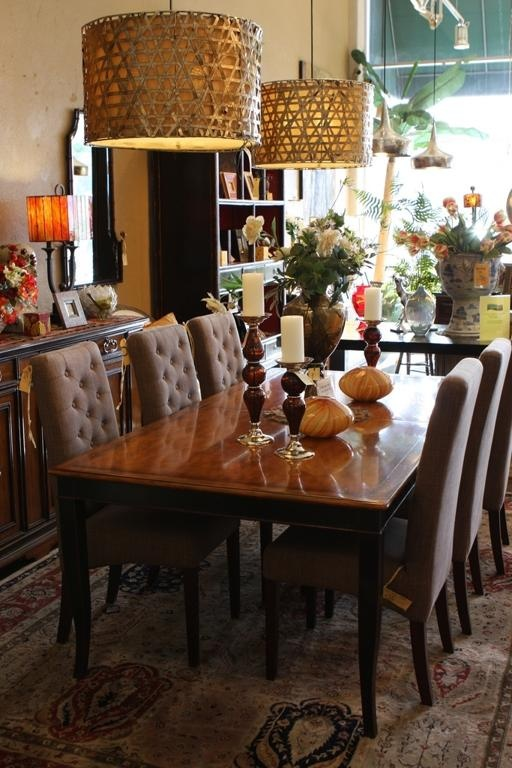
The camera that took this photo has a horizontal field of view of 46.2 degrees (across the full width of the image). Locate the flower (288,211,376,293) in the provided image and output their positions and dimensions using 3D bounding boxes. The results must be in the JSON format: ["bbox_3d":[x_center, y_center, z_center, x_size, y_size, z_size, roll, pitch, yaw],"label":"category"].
[{"bbox_3d":[0.279,-0.453,2.244,0.307,0.321,0.299,3,1,8],"label":"flower"}]

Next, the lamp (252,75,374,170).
[{"bbox_3d":[0.270,-0.949,2.186,0.382,0.261,0.391,19,29,35],"label":"lamp"}]

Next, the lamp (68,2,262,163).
[{"bbox_3d":[-0.180,-0.608,1.269,0.344,0.233,0.346,-10,20,-23],"label":"lamp"}]

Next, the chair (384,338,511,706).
[{"bbox_3d":[0.549,0.374,1.748,0.326,0.971,0.720,0,3,23],"label":"chair"}]

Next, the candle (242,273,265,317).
[{"bbox_3d":[-0.008,-0.243,1.644,0.056,0.128,0.099,-1,3,-3],"label":"candle"}]

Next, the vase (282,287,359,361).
[{"bbox_3d":[0.213,-0.226,2.319,0.254,0.323,0.254,-3,12,-37],"label":"vase"}]

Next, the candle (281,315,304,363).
[{"bbox_3d":[0.100,-0.109,1.523,0.049,0.118,0.131,1,4,28],"label":"candle"}]

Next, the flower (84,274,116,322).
[{"bbox_3d":[-0.894,-0.502,3.545,0.183,0.192,0.196,5,10,30],"label":"flower"}]

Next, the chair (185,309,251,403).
[{"bbox_3d":[-0.182,-0.113,2.749,0.214,0.215,0.375,-15,39,-10],"label":"chair"}]
